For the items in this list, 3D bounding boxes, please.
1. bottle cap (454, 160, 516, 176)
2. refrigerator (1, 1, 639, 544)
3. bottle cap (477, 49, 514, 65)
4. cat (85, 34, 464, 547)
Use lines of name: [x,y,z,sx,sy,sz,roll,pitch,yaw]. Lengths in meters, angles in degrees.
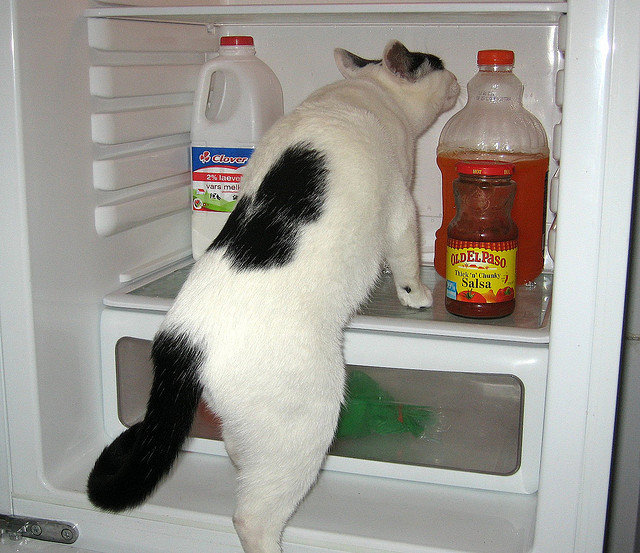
bottle cap: [0.263,-0.172,0.946,0.055,0.012,0.054,-6,14,-37]
refrigerator: [-0.013,0.018,0.930,0.863,0.770,0.520,3,22,11]
bottle cap: [0.313,-0.392,1.063,0.045,0.017,0.045,5,22,12]
cat: [-0.036,-0.027,0.974,0.312,0.785,0.567,5,5,43]
